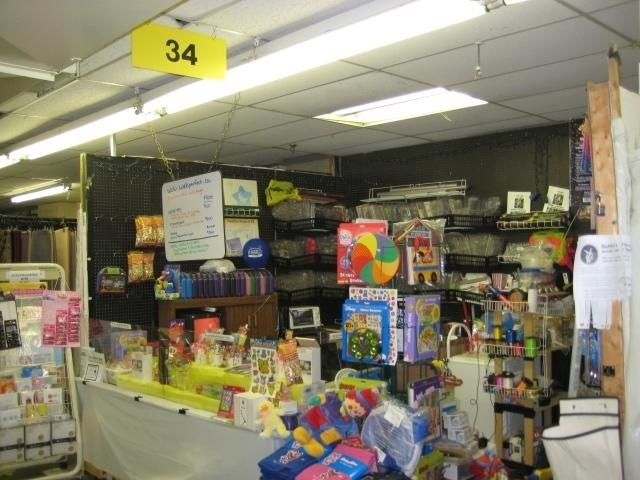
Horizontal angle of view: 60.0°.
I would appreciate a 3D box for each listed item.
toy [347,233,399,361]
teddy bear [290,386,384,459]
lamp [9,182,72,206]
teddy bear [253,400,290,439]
[{"bbox_3d":[0.423,0.425,4.167,0.382,0.960,0.325,-2,-2,23],"label":"toy"},{"bbox_3d":[0.080,1.204,3.703,0.307,0.150,0.535,30,29,27],"label":"teddy bear"},{"bbox_3d":[-5.627,-0.958,11.371,1.623,0.260,0.127,-4,13,17],"label":"lamp"},{"bbox_3d":[-0.339,1.260,3.810,0.178,0.245,0.234,0,-2,-29],"label":"teddy bear"}]
